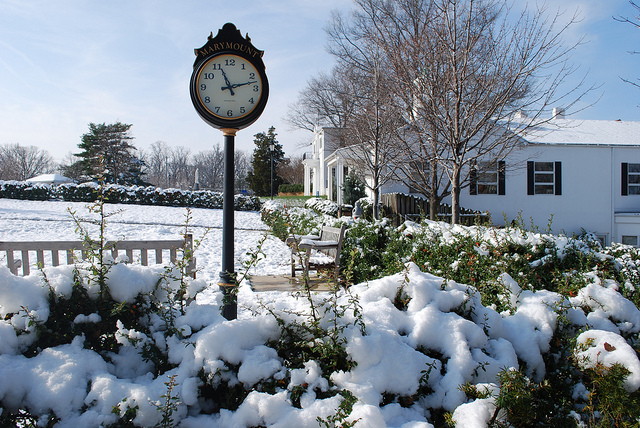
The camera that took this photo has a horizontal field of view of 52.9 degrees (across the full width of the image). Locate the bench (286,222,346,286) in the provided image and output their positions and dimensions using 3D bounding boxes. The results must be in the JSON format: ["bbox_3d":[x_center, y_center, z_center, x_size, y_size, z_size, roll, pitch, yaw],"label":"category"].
[{"bbox_3d":[-0.142,0.787,13.133,0.892,1.300,1.261,1,4,-17],"label":"bench"}]
